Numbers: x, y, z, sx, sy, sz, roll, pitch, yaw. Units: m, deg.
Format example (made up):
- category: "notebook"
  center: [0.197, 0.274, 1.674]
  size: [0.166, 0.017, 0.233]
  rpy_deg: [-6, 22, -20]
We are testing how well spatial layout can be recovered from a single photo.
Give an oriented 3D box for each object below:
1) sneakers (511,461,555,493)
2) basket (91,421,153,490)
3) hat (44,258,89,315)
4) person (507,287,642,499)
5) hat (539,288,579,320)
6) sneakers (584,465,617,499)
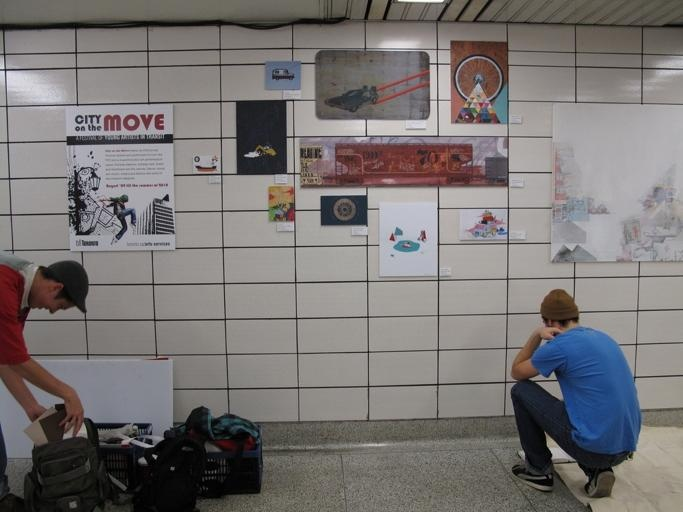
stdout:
- category: "sneakers"
  center: [1.285, 1.475, 4.430]
  size: [0.123, 0.138, 0.307]
  rpy_deg: [8, 8, -42]
- category: "basket"
  center: [-1.538, 1.356, 4.581]
  size: [0.334, 0.324, 0.498]
  rpy_deg: [0, 5, -5]
- category: "hat"
  center: [-1.639, 0.145, 4.033]
  size: [0.187, 0.328, 0.233]
  rpy_deg: [-39, 13, -1]
- category: "person"
  center: [1.517, 0.899, 4.254]
  size: [0.786, 1.323, 0.299]
  rpy_deg: [5, 11, 35]
- category: "hat"
  center: [1.435, 0.313, 4.277]
  size: [0.163, 0.148, 0.233]
  rpy_deg: [-4, 10, 9]
- category: "sneakers"
  center: [1.680, 1.466, 4.201]
  size: [0.109, 0.271, 0.117]
  rpy_deg: [-1, 50, 4]
